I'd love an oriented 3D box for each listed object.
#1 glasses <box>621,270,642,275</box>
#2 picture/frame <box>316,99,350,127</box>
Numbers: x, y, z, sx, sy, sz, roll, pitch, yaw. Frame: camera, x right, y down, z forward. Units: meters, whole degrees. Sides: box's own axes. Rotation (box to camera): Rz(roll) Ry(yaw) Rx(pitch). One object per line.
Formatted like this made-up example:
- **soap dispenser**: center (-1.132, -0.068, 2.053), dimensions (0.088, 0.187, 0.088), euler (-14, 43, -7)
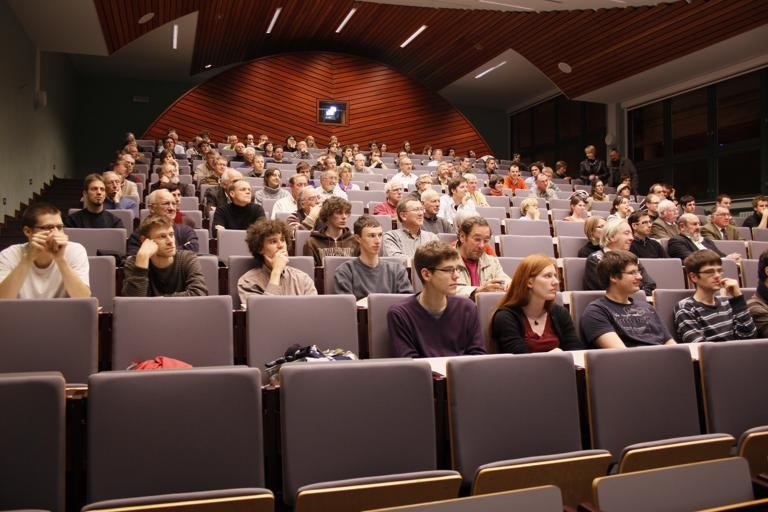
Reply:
- **glasses**: center (1.290, 0.081, 2.719), dimensions (0.091, 0.032, 0.018), euler (1, -1, -19)
- **picture/frame**: center (-1.220, -3.267, 11.850), dimensions (0.660, 0.533, 0.216), euler (3, -5, -17)
